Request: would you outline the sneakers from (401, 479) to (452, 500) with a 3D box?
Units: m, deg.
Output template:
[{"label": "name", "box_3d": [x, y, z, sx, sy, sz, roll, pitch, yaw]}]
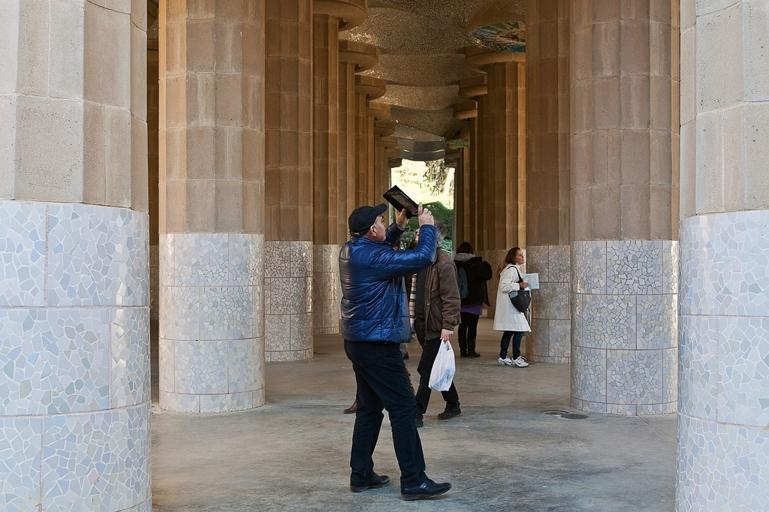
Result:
[{"label": "sneakers", "box_3d": [0.370, 2.124, 7.819, 0.427, 0.178, 0.179, -5, -3, 1]}]

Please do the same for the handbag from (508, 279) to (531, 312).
[{"label": "handbag", "box_3d": [2.411, 0.728, 14.915, 0.166, 0.345, 0.439, -2, 16, 34]}]

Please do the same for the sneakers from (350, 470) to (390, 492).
[{"label": "sneakers", "box_3d": [-0.155, 2.146, 8.076, 0.379, 0.159, 0.143, -5, 5, -28]}]

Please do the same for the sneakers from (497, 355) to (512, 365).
[{"label": "sneakers", "box_3d": [2.155, 1.902, 15.310, 0.251, 0.119, 0.098, 0, 2, 11]}]

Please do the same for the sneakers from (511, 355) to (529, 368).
[{"label": "sneakers", "box_3d": [2.449, 1.908, 15.226, 0.351, 0.159, 0.128, -1, -1, 30]}]

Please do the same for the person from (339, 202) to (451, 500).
[{"label": "person", "box_3d": [0.037, 0.878, 8.044, 0.951, 2.708, 0.539, -1, -2, 3]}]

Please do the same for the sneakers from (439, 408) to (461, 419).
[{"label": "sneakers", "box_3d": [0.812, 1.966, 10.608, 0.304, 0.125, 0.110, -1, -5, -33]}]
